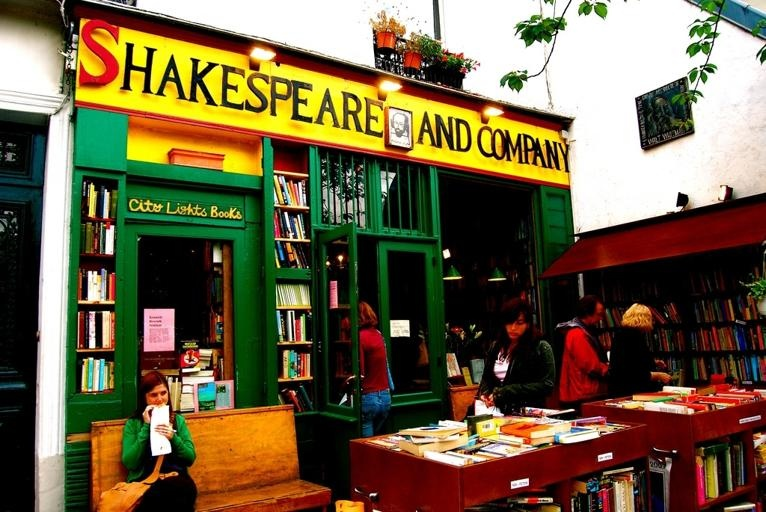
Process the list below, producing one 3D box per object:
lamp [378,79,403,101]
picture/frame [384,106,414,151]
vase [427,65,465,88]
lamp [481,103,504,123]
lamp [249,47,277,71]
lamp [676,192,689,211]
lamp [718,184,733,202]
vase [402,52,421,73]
[{"bbox_3d":[0.078,-2.178,7.593,0.267,0.069,0.289,-26,-23,38],"label":"lamp"},{"bbox_3d":[0.187,-1.664,7.706,0.535,0.628,0.122,10,-15,-33],"label":"picture/frame"},{"bbox_3d":[0.924,-2.568,8.409,0.465,0.150,0.329,6,-4,-36],"label":"vase"},{"bbox_3d":[1.551,-2.067,8.464,0.244,0.065,0.267,-8,-12,43],"label":"lamp"},{"bbox_3d":[-1.422,-2.336,6.902,0.311,0.200,0.194,-2,-12,-15],"label":"lamp"},{"bbox_3d":[4.071,-0.753,7.950,0.176,0.256,0.135,-12,-14,28],"label":"lamp"},{"bbox_3d":[4.414,-0.802,7.535,0.170,0.229,0.153,-13,-14,31],"label":"lamp"},{"bbox_3d":[0.404,-2.688,8.130,0.231,0.172,0.232,1,-11,0],"label":"vase"}]
